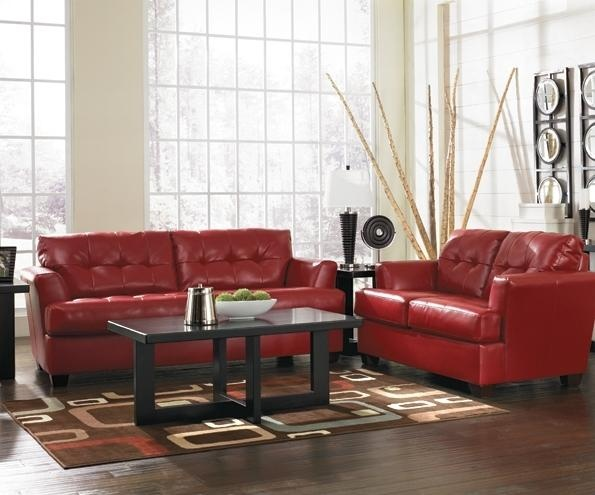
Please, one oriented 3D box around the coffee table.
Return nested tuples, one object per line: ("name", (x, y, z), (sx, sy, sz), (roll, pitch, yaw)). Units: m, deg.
("coffee table", (-0.329, 0.623, 2.874), (1.159, 0.520, 0.631), (1, -2, -27))
